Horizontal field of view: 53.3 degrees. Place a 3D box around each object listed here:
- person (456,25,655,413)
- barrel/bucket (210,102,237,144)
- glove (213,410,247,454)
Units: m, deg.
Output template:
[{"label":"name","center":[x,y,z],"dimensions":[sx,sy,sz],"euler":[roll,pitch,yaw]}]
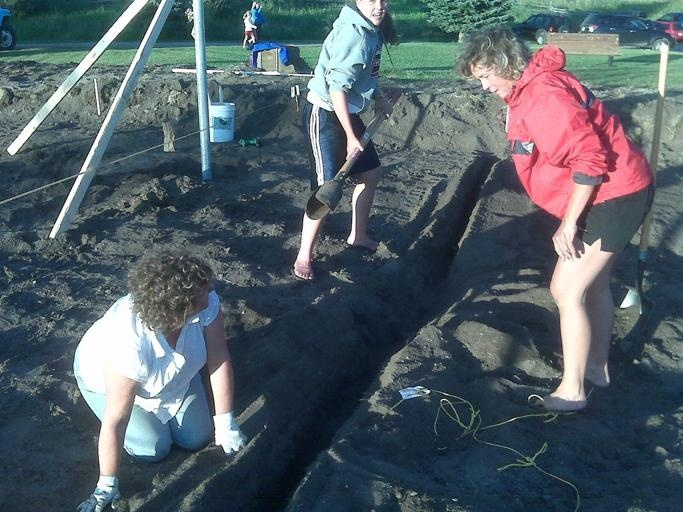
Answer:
[{"label":"person","center":[1.272,-0.211,4.183],"dimensions":[1.050,2.186,0.691],"euler":[14,27,25]},{"label":"barrel/bucket","center":[-1.419,-1.597,8.215],"dimensions":[0.420,0.475,0.424],"euler":[1,15,0]},{"label":"glove","center":[-0.687,1.045,4.110],"dimensions":[0.211,0.241,0.064],"euler":[-2,-8,-15]}]
